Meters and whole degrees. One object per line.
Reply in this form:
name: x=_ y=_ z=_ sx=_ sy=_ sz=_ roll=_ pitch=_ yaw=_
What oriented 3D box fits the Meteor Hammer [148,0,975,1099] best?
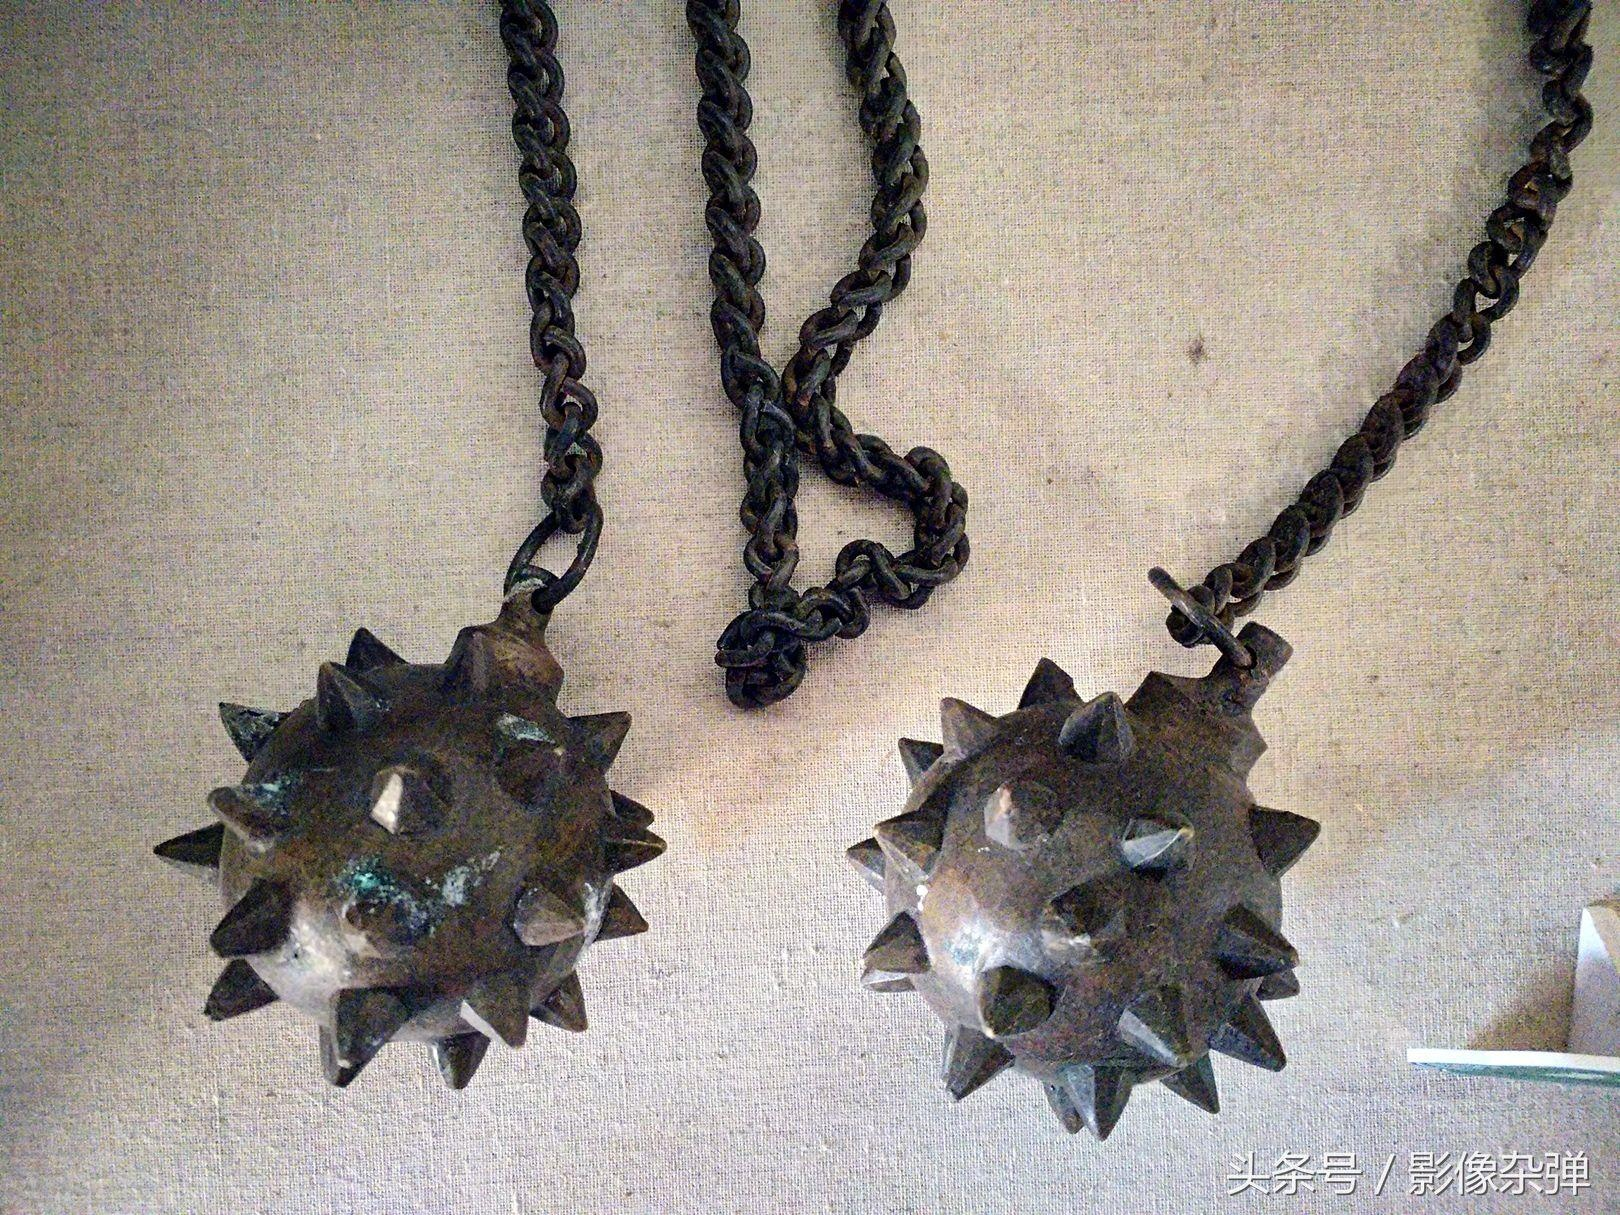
Meteor Hammer: x=-0.389 y=-0.023 z=4.238 sx=0.990 sy=2.156 sz=0.672 roll=6 pitch=-8 yaw=-11
